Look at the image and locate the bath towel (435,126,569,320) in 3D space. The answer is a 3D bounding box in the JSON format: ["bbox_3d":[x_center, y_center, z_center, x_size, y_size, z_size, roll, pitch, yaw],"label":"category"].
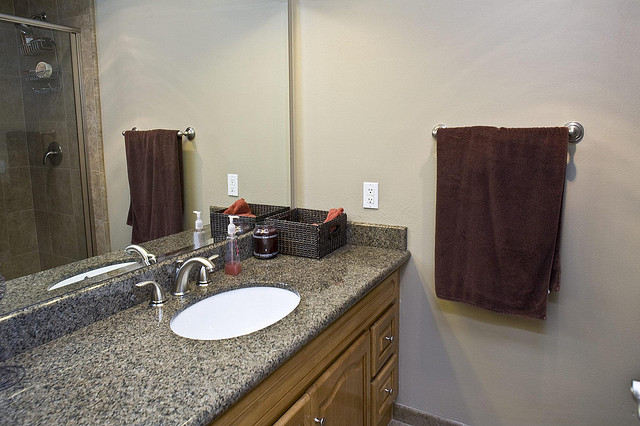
[{"bbox_3d":[0.890,-0.031,2.297,0.639,0.903,0.356,5,10,19],"label":"bath towel"}]

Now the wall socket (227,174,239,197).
[{"bbox_3d":[-0.464,-0.151,2.424,0.016,0.123,0.081,10,16,35],"label":"wall socket"}]

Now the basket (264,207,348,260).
[{"bbox_3d":[-0.075,0.096,2.509,0.375,0.188,0.350,7,15,25],"label":"basket"}]

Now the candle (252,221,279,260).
[{"bbox_3d":[-0.288,0.142,2.397,0.146,0.171,0.147,-4,9,-21],"label":"candle"}]

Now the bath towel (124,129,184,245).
[{"bbox_3d":[-0.726,-0.133,2.030,0.097,0.481,0.345,8,15,29],"label":"bath towel"}]
